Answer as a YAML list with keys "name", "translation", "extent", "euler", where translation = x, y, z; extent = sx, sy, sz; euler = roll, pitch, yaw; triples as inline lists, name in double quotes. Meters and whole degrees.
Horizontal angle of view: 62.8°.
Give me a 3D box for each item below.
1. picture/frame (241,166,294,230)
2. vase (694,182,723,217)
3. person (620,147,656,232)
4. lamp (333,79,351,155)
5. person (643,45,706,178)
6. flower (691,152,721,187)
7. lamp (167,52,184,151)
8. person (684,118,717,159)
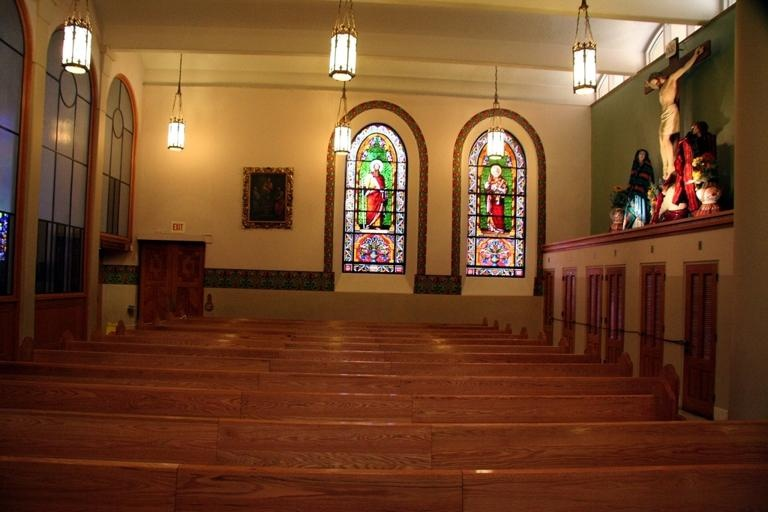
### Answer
- name: "picture/frame"
  translation: [-2.824, -1.381, 15.338]
  extent: [1.376, 1.728, 0.076]
  euler: [1, -3, -4]
- name: "vase"
  translation: [5.470, -0.960, 10.545]
  extent: [0.497, 0.589, 0.508]
  euler: [-5, -3, 15]
- name: "person"
  translation: [5.348, -1.446, 13.144]
  extent: [0.640, 1.681, 0.524]
  euler: [1, -1, 40]
- name: "lamp"
  translation: [-0.976, -3.317, 14.781]
  extent: [0.479, 1.975, 1.756]
  euler: [1, 0, -5]
- name: "person"
  translation: [5.381, -2.625, 11.752]
  extent: [0.276, 2.365, 1.072]
  euler: [1, -1, -24]
- name: "flower"
  translation: [5.465, -1.465, 10.668]
  extent: [0.398, 0.567, 0.409]
  euler: [1, -1, 19]
- name: "lamp"
  translation: [-4.843, -3.690, 14.707]
  extent: [0.364, 1.887, 1.582]
  euler: [1, 0, -18]
- name: "person"
  translation: [5.674, -2.063, 11.047]
  extent: [0.492, 0.786, 0.776]
  euler: [1, 0, 8]
